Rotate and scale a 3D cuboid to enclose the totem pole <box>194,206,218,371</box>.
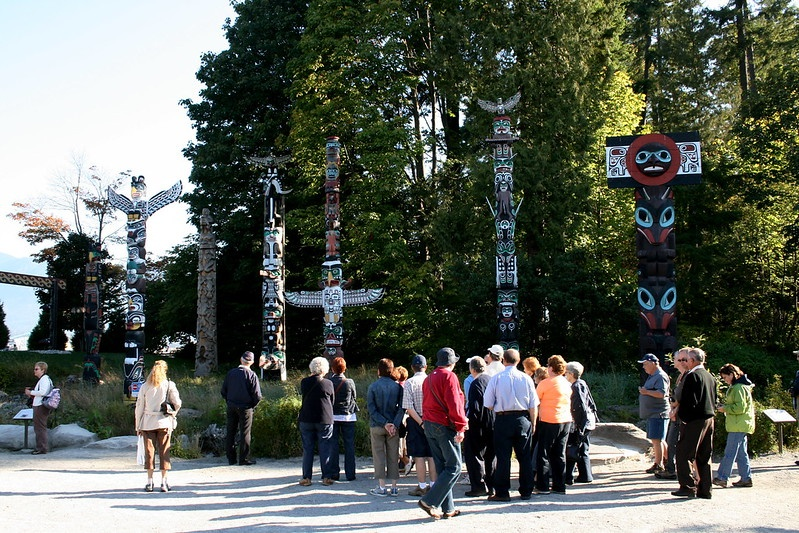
[{"bbox_3d":[-8.244,1.195,44.280,0.867,7.187,1.913,0,-12,-12],"label":"totem pole"}]

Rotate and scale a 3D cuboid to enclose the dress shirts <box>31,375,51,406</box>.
[{"bbox_3d":[-11.434,3.994,33.135,0.609,0.967,1.047,16,-15,-9],"label":"dress shirts"}]

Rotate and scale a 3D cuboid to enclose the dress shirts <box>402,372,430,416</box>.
[{"bbox_3d":[0.474,3.524,28.329,1.281,1.087,0.460,2,0,-11],"label":"dress shirts"}]

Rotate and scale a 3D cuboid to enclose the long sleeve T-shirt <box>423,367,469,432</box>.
[{"bbox_3d":[1.208,3.609,27.623,1.094,1.615,1.759,6,-8,-38],"label":"long sleeve T-shirt"}]

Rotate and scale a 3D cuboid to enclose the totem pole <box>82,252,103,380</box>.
[{"bbox_3d":[-12.754,1.880,43.224,0.691,6.095,2.694,1,-12,-16],"label":"totem pole"}]

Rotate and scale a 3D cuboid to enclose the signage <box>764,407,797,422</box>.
[{"bbox_3d":[11.433,4.511,31.311,0.831,0.386,1.225,-6,-12,18],"label":"signage"}]

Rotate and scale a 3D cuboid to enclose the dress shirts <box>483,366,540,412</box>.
[{"bbox_3d":[2.994,3.367,28.268,1.881,1.426,1.001,-1,4,11],"label":"dress shirts"}]

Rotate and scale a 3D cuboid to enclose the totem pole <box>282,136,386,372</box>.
[{"bbox_3d":[-2.717,-0.815,39.488,2.949,8.973,3.730,2,-12,-20],"label":"totem pole"}]

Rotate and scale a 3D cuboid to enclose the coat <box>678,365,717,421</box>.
[{"bbox_3d":[8.106,3.486,28.299,0.872,1.385,1.606,-1,-6,37],"label":"coat"}]

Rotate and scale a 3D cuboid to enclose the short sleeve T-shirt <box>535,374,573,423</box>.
[{"bbox_3d":[4.205,3.639,28.415,1.459,1.512,0.909,0,-2,3],"label":"short sleeve T-shirt"}]

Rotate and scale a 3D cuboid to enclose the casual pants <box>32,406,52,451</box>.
[{"bbox_3d":[-11.285,5.107,32.598,0.459,1.465,0.417,3,-13,-27],"label":"casual pants"}]

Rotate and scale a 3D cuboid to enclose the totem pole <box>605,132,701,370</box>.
[{"bbox_3d":[8.540,-0.618,34.347,2.770,7.484,1.221,-5,-12,11],"label":"totem pole"}]

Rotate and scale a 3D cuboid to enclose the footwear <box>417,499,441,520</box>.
[{"bbox_3d":[0.800,6.354,27.170,0.425,0.506,0.612,-7,-12,23],"label":"footwear"}]

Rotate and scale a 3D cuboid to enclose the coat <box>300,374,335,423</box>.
[{"bbox_3d":[-2.271,3.745,29.065,1.406,1.419,0.807,1,-9,-4],"label":"coat"}]

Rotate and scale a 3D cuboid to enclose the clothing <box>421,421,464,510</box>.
[{"bbox_3d":[1.137,5.286,27.395,0.984,2.399,0.567,-3,-12,3],"label":"clothing"}]

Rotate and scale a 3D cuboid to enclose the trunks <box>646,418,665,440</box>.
[{"bbox_3d":[7.235,4.550,29.190,0.618,0.552,0.348,0,-26,17],"label":"trunks"}]

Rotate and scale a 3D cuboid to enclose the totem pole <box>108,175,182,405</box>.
[{"bbox_3d":[-9.744,0.824,38.500,2.025,8.275,2.358,4,-13,-29],"label":"totem pole"}]
